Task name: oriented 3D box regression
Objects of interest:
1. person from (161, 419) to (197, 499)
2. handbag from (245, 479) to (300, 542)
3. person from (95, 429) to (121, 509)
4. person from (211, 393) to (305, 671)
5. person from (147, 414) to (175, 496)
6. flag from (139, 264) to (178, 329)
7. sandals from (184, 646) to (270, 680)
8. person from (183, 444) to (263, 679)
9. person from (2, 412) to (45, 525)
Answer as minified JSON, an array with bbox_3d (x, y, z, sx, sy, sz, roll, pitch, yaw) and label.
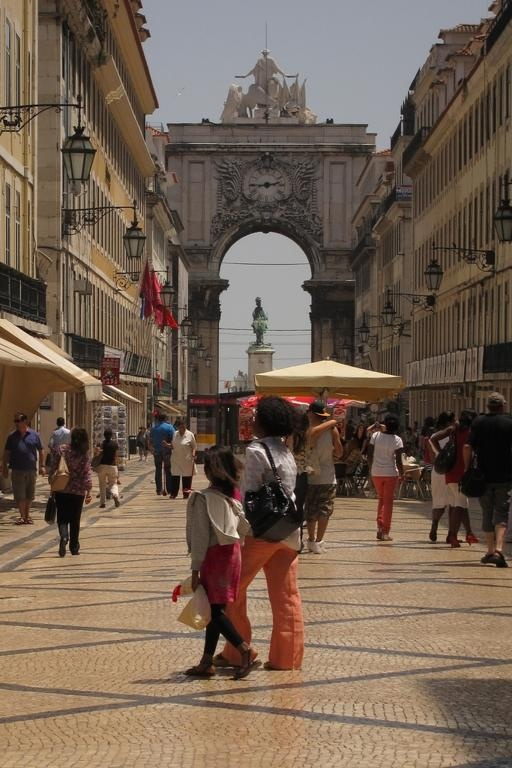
[{"bbox_3d":[-1.703,1.630,24.657,0.697,1.750,0.607,-4,15,-20],"label":"person"},{"bbox_3d":[0.076,0.734,6.393,0.238,0.262,0.147,-37,6,2],"label":"handbag"},{"bbox_3d":[-3.128,1.726,22.413,0.568,1.817,0.780,0,0,3],"label":"person"},{"bbox_3d":[0.040,0.916,6.661,0.438,1.663,0.500,6,-16,-10],"label":"person"},{"bbox_3d":[-2.272,1.687,27.251,0.672,2.571,0.604,-5,3,-17],"label":"person"},{"bbox_3d":[-4.496,-4.064,51.888,1.489,4.244,1.947,-2,8,-10],"label":"flag"},{"bbox_3d":[-0.175,1.572,6.279,0.456,0.200,0.173,0,-2,1],"label":"sandals"},{"bbox_3d":[-0.206,1.014,6.315,0.405,1.308,0.331,0,-2,-9],"label":"person"},{"bbox_3d":[-3.966,1.399,18.725,0.548,1.849,0.795,0,0,-17],"label":"person"}]
